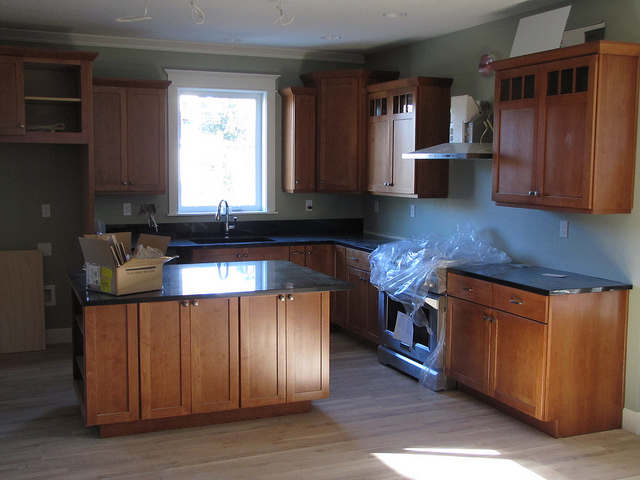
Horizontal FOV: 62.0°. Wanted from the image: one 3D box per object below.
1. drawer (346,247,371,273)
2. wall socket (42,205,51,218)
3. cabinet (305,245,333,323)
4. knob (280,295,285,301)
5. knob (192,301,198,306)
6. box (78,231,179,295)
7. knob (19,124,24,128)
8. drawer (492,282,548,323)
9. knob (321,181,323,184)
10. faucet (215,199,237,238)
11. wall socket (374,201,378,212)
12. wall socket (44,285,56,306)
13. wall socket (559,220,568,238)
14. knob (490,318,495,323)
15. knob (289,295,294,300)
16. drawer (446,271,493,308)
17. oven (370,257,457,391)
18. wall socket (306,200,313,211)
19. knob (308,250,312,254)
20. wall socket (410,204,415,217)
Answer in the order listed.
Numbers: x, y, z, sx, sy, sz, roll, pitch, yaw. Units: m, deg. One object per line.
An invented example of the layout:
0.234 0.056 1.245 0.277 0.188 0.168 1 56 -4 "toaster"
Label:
0.399 0.208 5.505 0.205 0.154 0.328 0 3 -20 "drawer"
-2.777 -0.296 5.450 0.067 0.124 0.016 -4 9 -10 "wall socket"
-0.040 0.518 5.951 0.258 0.952 0.329 -11 -5 14 "cabinet"
-0.262 0.416 3.816 0.032 0.029 0.020 -5 -11 40 "knob"
-0.843 0.433 3.633 0.035 0.023 0.033 4 0 -1 "knob"
-1.320 0.152 3.725 0.458 0.366 0.570 7 8 40 "box"
-2.653 -1.020 4.779 0.044 0.038 0.023 0 1 -28 "knob"
1.411 0.438 3.780 0.231 0.124 0.280 0 7 -29 "drawer"
0.029 -0.655 6.080 0.015 0.035 0.039 -5 9 -29 "knob"
-1.072 -0.236 6.053 0.239 0.449 0.385 -3 9 -2 "faucet"
0.680 -0.412 6.464 0.006 0.116 0.072 -7 10 -27 "wall socket"
-2.786 0.581 5.588 0.179 0.183 0.046 0 2 -29 "wall socket"
1.920 -0.086 4.216 0.014 0.127 0.075 -8 10 -29 "wall socket"
1.292 0.602 4.009 0.025 0.040 0.045 -3 7 -20 "knob"
-0.202 0.414 3.831 0.025 0.032 0.010 -2 -12 -12 "knob"
1.271 0.368 4.266 0.290 0.200 0.434 -9 13 -32 "drawer"
0.995 0.674 4.874 0.762 1.081 0.839 -4 8 -32 "oven"
-0.123 -0.424 6.526 0.079 0.135 0.023 -7 10 -25 "wall socket"
-0.106 0.135 5.879 0.047 0.044 0.025 0 -2 -37 "knob"
1.009 -0.318 5.831 0.017 0.131 0.081 -7 10 -22 "wall socket"
